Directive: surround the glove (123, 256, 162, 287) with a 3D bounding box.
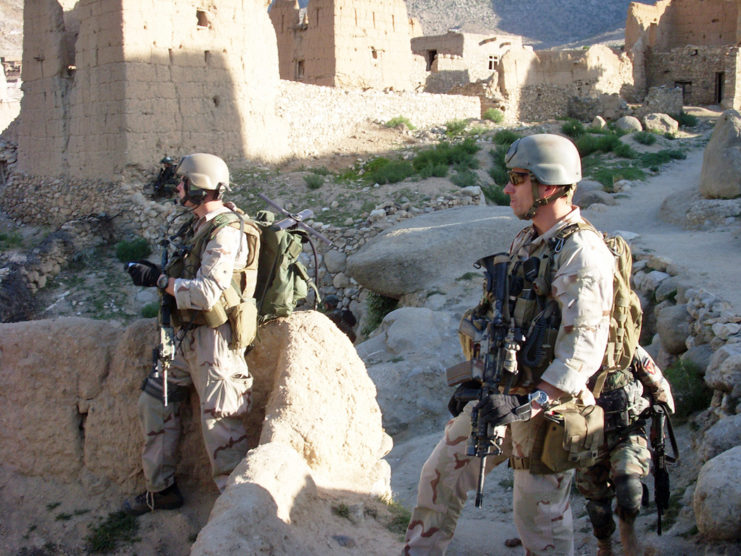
[{"bbox_3d":[-1.805,-0.032,6.819,0.252,0.225,0.119,10,-7,30],"label":"glove"}]

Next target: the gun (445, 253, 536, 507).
[{"bbox_3d":[0.832,0.681,6.066,0.508,1.631,0.758,6,10,30],"label":"gun"}]

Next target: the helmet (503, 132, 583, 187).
[{"bbox_3d":[1.266,-0.873,6.178,0.408,0.280,0.407,-7,21,-2],"label":"helmet"}]

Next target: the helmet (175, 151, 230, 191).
[{"bbox_3d":[-1.360,-0.821,7.021,0.340,0.290,0.313,23,16,13],"label":"helmet"}]

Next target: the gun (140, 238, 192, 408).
[{"bbox_3d":[-1.691,0.378,7.005,0.319,1.245,0.755,-3,10,-17],"label":"gun"}]

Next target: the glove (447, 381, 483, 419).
[{"bbox_3d":[0.671,0.865,6.079,0.085,0.252,0.246,31,53,18],"label":"glove"}]

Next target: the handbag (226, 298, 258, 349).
[{"bbox_3d":[-1.032,0.348,6.790,0.194,0.419,0.339,4,7,19],"label":"handbag"}]

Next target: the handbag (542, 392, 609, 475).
[{"bbox_3d":[1.458,1.095,6.033,0.555,0.488,0.188,-5,10,-30],"label":"handbag"}]

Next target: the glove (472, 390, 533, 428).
[{"bbox_3d":[0.928,0.889,5.827,0.280,0.157,0.234,-4,20,0],"label":"glove"}]
